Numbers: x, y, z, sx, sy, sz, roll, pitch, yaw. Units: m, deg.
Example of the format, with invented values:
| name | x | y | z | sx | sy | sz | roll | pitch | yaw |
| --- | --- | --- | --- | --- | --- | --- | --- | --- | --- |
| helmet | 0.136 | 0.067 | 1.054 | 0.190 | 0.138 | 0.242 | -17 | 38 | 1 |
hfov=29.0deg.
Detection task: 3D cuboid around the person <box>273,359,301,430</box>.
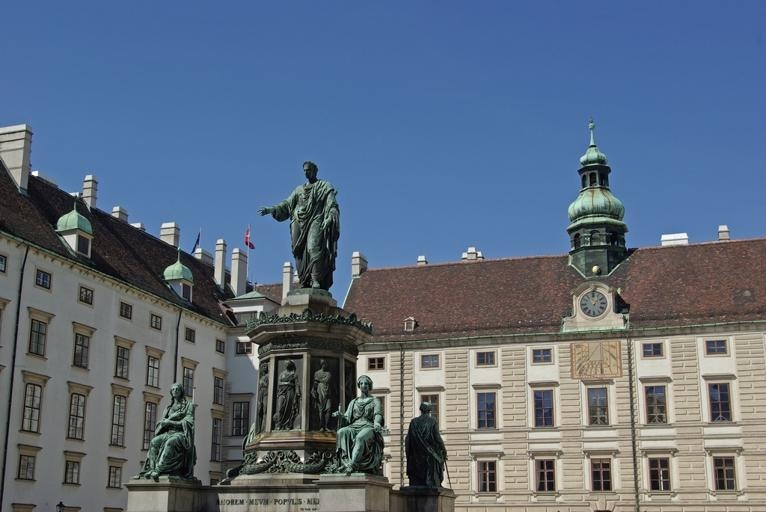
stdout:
| name | x | y | z | sx | sy | sz | roll | pitch | yaw |
| --- | --- | --- | --- | --- | --- | --- | --- | --- | --- |
| person | -4.620 | 6.811 | 71.439 | 1.230 | 3.235 | 0.692 | 0 | 4 | -4 |
